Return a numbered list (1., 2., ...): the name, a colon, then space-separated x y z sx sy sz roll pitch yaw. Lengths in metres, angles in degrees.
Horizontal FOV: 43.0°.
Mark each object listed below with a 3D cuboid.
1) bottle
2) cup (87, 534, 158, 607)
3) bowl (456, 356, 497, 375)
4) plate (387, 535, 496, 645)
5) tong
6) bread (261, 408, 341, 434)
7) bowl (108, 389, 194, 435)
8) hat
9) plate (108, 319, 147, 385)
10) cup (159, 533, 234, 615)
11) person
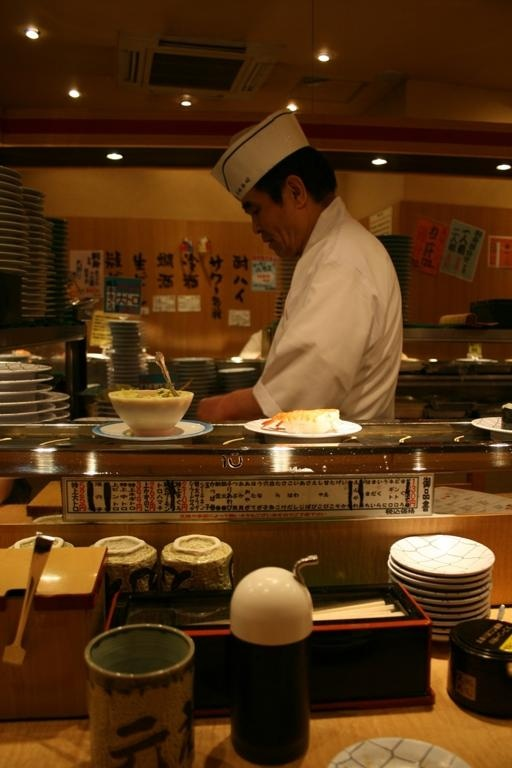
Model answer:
1. bottle: 0.018 0.347 0.813 0.102 0.269 0.069 1 2 -2
2. cup: -0.211 0.304 1.074 0.115 0.109 0.114 2 3 0
3. bowl: 1.350 -0.101 3.966 0.250 0.097 0.502 2 2 20
4. plate: 0.316 0.359 1.144 0.166 0.095 0.162 -1 7 -7
5. tong: -0.322 0.306 0.906 0.054 0.172 0.086 1 2 -1
6. bread: 0.078 0.063 1.163 0.136 0.038 0.139 1 2 -1
7. bowl: -0.182 0.046 1.103 0.130 0.078 0.175 1 2 -12
8. hat: -0.007 -0.726 2.141 0.319 0.166 0.257 -38 4 23
9. plate: -0.748 -0.180 3.758 0.197 0.375 0.312 1 2 -12
10. cup: -0.101 0.308 1.107 0.117 0.074 0.102 1 2 -9
11. person: 0.132 -0.332 2.061 0.617 0.968 0.819 -3 15 8
